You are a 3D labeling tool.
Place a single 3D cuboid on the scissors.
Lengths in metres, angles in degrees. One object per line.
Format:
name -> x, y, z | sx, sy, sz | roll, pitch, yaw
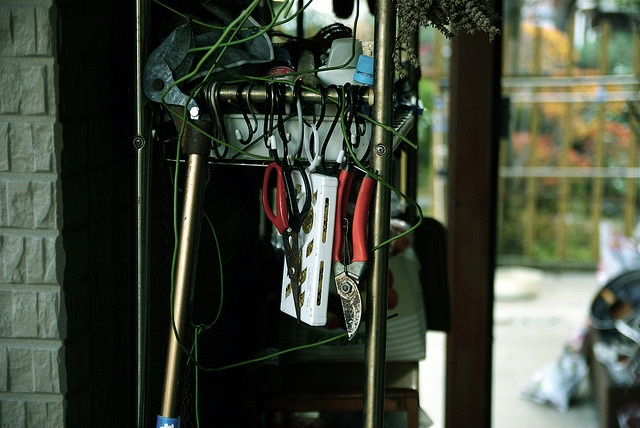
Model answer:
scissors -> -0.058, 0.077, 1.789 | 0.028, 0.386, 0.131 | -12, 13, -43
